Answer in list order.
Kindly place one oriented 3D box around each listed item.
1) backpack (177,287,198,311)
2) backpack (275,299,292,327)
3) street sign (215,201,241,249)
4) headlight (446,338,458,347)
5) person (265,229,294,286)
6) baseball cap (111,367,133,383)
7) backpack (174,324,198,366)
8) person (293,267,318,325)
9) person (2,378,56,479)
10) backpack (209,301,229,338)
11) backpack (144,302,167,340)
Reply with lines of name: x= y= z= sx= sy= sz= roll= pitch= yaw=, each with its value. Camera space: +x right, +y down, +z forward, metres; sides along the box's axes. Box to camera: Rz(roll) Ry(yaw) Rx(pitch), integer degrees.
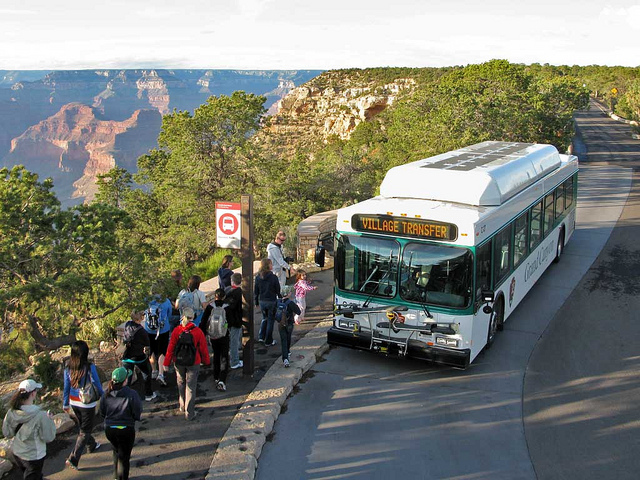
backpack: x=-2.880 y=1.289 z=13.942 sx=0.334 sy=0.453 sz=0.397 roll=1 pitch=4 yaw=10
backpack: x=-0.797 y=1.579 z=13.986 sx=0.328 sy=0.577 sz=0.264 roll=-1 pitch=13 yaw=-9
street sign: x=-1.946 y=-0.310 z=13.631 sx=0.574 sy=1.039 sz=0.386 roll=2 pitch=13 yaw=3
headlight: x=2.792 y=2.159 z=13.687 sx=0.157 sy=0.122 sz=0.172 roll=-2 pitch=-3 yaw=35
person: x=-1.005 y=0.727 z=16.785 sx=0.647 sy=2.079 sz=0.622 roll=1 pitch=23 yaw=6
baseball cap: x=-3.446 y=2.274 z=11.088 sx=0.250 sy=0.278 sz=0.341 roll=-2 pitch=14 yaw=-15
backpack: x=-2.602 y=2.025 z=12.522 sx=0.463 sy=0.821 sz=0.454 roll=6 pitch=1 yaw=-30
person: x=-0.416 y=1.555 z=17.418 sx=0.504 sy=1.170 sz=0.577 roll=-6 pitch=53 yaw=2
person: x=-4.864 y=3.203 z=10.798 sx=0.797 sy=1.769 sz=0.381 roll=-3 pitch=13 yaw=-15
backpack: x=-2.091 y=1.638 z=13.212 sx=0.413 sy=0.736 sz=0.367 roll=0 pitch=1 yaw=10
backpack: x=-3.456 y=1.640 z=13.465 sx=0.368 sy=0.581 sz=0.581 roll=-2 pitch=20 yaw=-2
